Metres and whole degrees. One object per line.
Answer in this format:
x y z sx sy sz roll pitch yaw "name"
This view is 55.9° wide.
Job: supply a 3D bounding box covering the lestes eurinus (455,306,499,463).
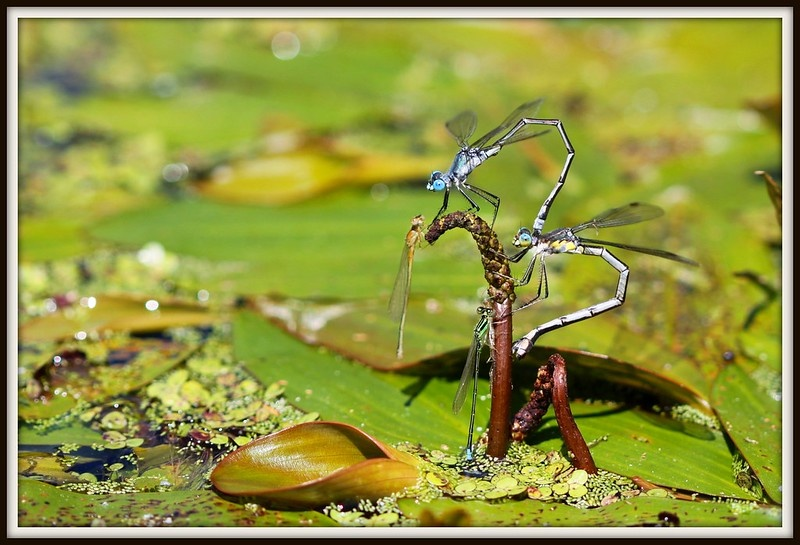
0.272 0.384 2.809 0.152 0.579 0.272 -3 7 3 "lestes eurinus"
